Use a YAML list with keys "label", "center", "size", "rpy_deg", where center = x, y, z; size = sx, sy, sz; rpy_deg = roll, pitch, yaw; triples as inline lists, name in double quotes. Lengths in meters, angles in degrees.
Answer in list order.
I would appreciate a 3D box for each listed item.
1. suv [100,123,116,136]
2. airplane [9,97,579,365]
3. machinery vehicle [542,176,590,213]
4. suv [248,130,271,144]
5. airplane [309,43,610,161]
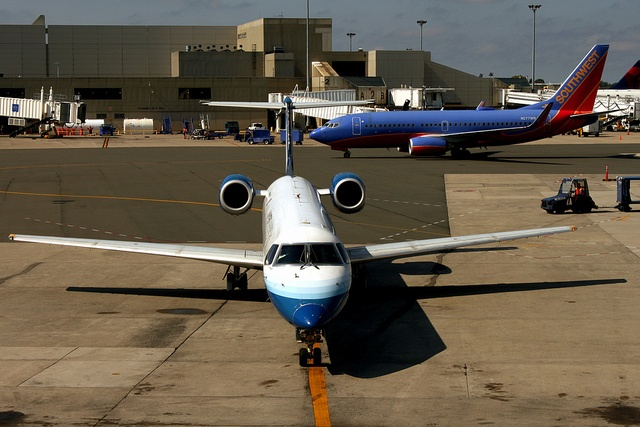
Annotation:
- label: "suv"
  center: [-27.848, -10.863, 111.895]
  size: [1.882, 0.804, 2.224]
  rpy_deg: [-1, 2, -10]
- label: "airplane"
  center: [-0.664, 0.421, 44.113]
  size: [23.875, 5.373, 18.703]
  rpy_deg: [-1, 10, -3]
- label: "machinery vehicle"
  center: [13.520, -0.908, 46.325]
  size: [3.713, 1.507, 1.722]
  rpy_deg: [0, 1, -10]
- label: "suv"
  center: [-6.680, -8.546, 95.064]
  size: [2.746, 1.021, 1.595]
  rpy_deg: [1, 3, 28]
- label: "airplane"
  center: [11.113, -7.305, 70.560]
  size: [21.558, 5.389, 16.060]
  rpy_deg: [0, 6, -2]
